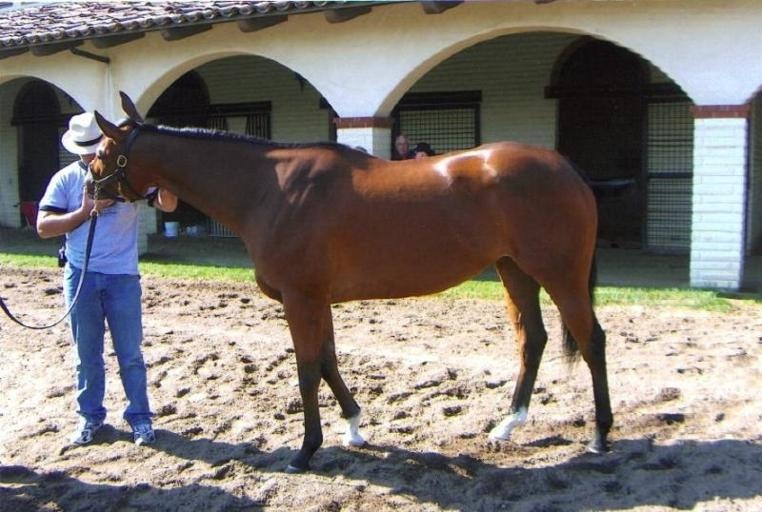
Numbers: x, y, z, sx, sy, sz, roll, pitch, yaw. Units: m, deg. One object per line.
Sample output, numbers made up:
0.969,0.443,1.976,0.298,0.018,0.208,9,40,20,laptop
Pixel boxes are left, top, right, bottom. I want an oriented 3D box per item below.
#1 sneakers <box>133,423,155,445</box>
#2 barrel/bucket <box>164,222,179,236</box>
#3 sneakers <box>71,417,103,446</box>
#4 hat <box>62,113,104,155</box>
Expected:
-2.230,1.685,8.126,0.141,0.236,0.082,-1,-10,-9,sneakers
-4.343,-0.575,17.857,0.269,0.292,0.275,2,-2,0,barrel/bucket
-2.785,1.667,8.183,0.162,0.321,0.132,26,-32,-14,sneakers
-2.747,-1.152,8.023,0.356,0.427,0.161,-20,-9,-6,hat
